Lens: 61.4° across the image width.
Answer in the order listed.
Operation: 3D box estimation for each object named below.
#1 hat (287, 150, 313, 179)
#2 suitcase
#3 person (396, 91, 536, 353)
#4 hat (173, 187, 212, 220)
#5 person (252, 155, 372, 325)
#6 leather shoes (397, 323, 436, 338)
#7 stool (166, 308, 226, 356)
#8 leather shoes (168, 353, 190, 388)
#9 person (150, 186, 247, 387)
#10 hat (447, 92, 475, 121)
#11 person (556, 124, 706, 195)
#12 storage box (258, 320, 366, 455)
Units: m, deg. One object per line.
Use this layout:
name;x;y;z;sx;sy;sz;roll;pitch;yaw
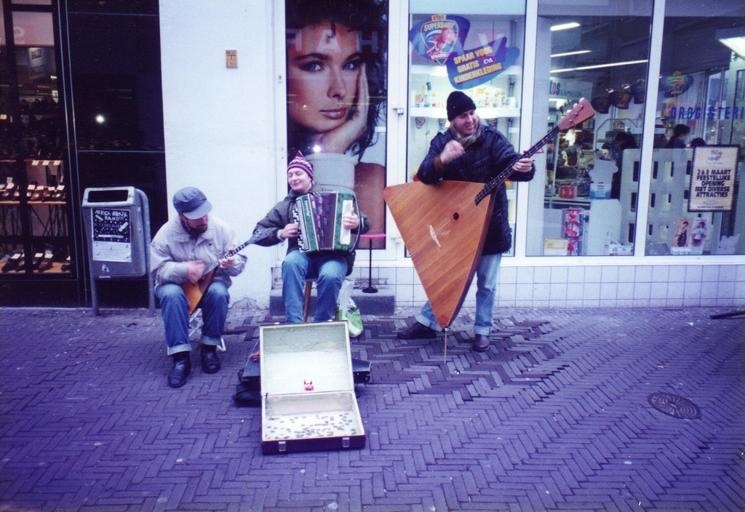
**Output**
hat;-0.683;-0.897;6.295;0.279;0.307;0.410;4;10;-5
suitcase;-0.523;1.078;5.253;0.799;0.857;0.757;-3;13;-9
person;0.964;-0.297;6.183;1.161;2.566;0.737;1;13;9
hat;-1.682;-0.493;5.885;0.314;0.290;0.225;-2;13;-5
person;-0.630;-0.107;6.096;0.978;1.669;0.811;5;14;28
leather shoes;0.488;0.821;6.787;0.461;0.192;0.160;3;-1;-2
stool;-1.698;0.617;6.025;0.618;0.592;0.265;-6;31;-28
leather shoes;-1.808;1.056;5.859;0.179;0.272;0.255;-2;13;-6
person;-1.651;0.251;5.969;0.815;1.778;0.613;-6;13;-21
hat;0.823;-1.435;5.962;0.253;0.245;0.254;17;28;34
person;3.328;-1.162;7.748;1.457;0.879;0.217;-4;13;-12
storage box;-0.520;1.073;5.221;0.848;0.629;1.034;-5;26;-14
